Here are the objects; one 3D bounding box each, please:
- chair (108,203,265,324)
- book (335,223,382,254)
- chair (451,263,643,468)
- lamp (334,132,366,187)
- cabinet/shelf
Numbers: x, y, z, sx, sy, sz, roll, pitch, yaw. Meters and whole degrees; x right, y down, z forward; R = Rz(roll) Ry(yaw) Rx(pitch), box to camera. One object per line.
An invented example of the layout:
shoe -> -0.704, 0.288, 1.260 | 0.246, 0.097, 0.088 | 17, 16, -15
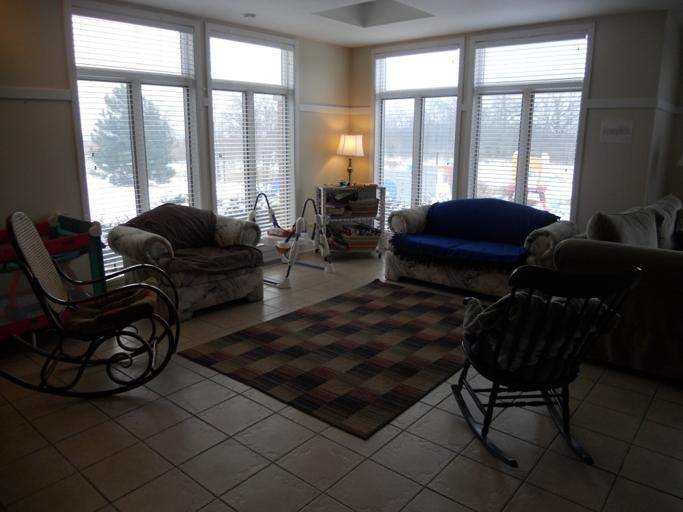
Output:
chair -> -1.520, -0.019, 4.601 | 1.249, 0.875, 1.135 | 12, 18, 35
book -> 0.260, -0.244, 6.358 | 0.449, 0.149, 0.455 | 6, 12, 26
chair -> 1.261, 0.697, 2.828 | 0.738, 1.192, 0.993 | -2, 26, -1
lamp -> 0.138, -1.410, 6.837 | 0.399, 0.699, 0.479 | 1, 15, 1
cabinet/shelf -> 0.105, -0.460, 6.343 | 1.054, 1.098, 0.594 | -2, 5, -15
